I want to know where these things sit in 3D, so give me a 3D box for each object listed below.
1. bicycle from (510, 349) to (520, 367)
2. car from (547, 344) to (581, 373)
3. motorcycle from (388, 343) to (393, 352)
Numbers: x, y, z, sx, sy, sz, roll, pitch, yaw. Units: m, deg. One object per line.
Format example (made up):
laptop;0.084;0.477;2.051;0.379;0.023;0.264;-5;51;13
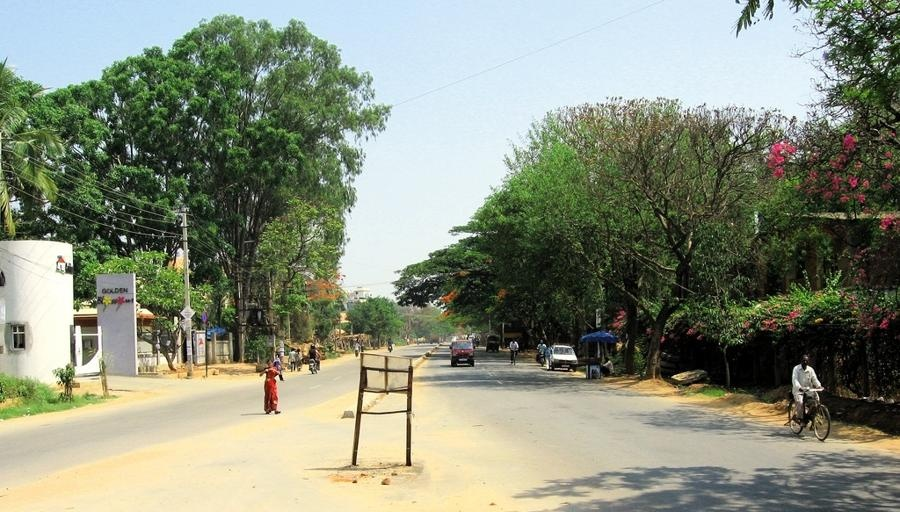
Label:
bicycle;6.399;9.563;70.724;1.092;1.234;2.166;0;-5;-4
car;8.921;8.189;59.819;2.150;2.013;2.739;-2;-9;1
motorcycle;-8.034;12.355;99.845;0.923;1.086;1.946;-1;-6;0
